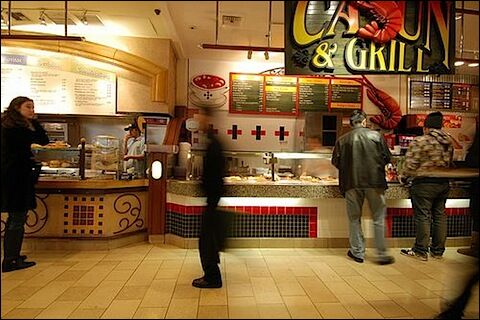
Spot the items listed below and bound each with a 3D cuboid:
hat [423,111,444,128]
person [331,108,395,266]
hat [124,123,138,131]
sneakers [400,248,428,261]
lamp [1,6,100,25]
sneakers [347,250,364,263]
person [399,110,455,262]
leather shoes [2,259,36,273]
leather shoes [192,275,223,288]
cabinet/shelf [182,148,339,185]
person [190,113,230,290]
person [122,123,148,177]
[{"bbox_3d":[3.360,-0.705,6.818,0.321,0.290,0.286,2,2,10],"label":"hat"},{"bbox_3d":[2.171,0.452,6.867,0.999,2.635,0.913,-4,-13,25],"label":"person"},{"bbox_3d":[-2.146,-0.666,7.792,0.320,0.157,0.191,6,-3,-18],"label":"hat"},{"bbox_3d":[2.992,1.615,6.786,0.150,0.166,0.434,0,8,-37],"label":"sneakers"},{"bbox_3d":[-3.855,-2.942,7.983,2.047,0.266,0.533,-2,5,-2],"label":"lamp"},{"bbox_3d":[1.948,1.665,6.672,0.108,0.119,0.292,-4,12,-34],"label":"sneakers"},{"bbox_3d":[3.202,0.437,6.689,0.830,2.517,0.365,-1,4,14],"label":"person"},{"bbox_3d":[-3.553,1.698,6.315,0.508,0.189,0.177,-1,0,-20],"label":"leather shoes"},{"bbox_3d":[-0.493,1.881,6.001,0.449,0.187,0.183,4,-1,0],"label":"leather shoes"},{"bbox_3d":[0.668,0.140,6.600,1.979,0.761,0.413,0,1,-3],"label":"cabinet/shelf"},{"bbox_3d":[-0.455,0.594,5.830,0.520,2.730,0.168,-2,4,-4],"label":"person"},{"bbox_3d":[-2.037,-0.209,7.593,0.410,1.031,1.092,-3,5,-15],"label":"person"}]
